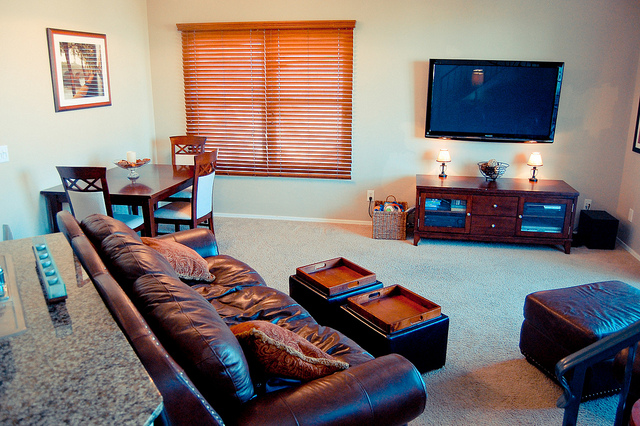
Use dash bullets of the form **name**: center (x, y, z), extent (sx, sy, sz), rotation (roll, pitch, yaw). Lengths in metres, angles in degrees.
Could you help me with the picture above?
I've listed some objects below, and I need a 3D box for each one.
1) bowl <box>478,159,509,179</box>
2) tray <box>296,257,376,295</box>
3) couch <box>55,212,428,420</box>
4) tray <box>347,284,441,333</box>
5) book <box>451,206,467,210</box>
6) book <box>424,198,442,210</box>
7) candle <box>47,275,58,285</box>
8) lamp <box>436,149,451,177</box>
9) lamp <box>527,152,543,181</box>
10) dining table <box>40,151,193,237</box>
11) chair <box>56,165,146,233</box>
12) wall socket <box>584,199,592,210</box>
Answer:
- **bowl**: center (2.107, -0.532, 5.428), extent (0.345, 0.237, 0.318), rotation (-1, 16, 0)
- **tray**: center (0.104, 0.483, 3.487), extent (0.344, 0.058, 0.355), rotation (-13, 24, -32)
- **couch**: center (-0.407, 0.578, 2.635), extent (0.634, 0.480, 1.275), rotation (-13, 24, -37)
- **tray**: center (0.512, 0.668, 3.142), extent (0.363, 0.071, 0.377), rotation (-12, 21, -37)
- **book**: center (1.615, -0.061, 5.169), extent (0.174, 0.038, 0.032), rotation (4, 17, 17)
- **book**: center (1.307, -0.107, 5.202), extent (0.211, 0.181, 0.107), rotation (6, 27, 7)
- **candle**: center (-1.135, 0.281, 1.895), extent (0.033, 0.022, 0.032), rotation (14, 27, 11)
- **lamp**: center (1.536, -0.612, 5.517), extent (0.158, 0.322, 0.254), rotation (3, 17, 14)
- **lamp**: center (2.587, -0.557, 5.370), extent (0.162, 0.332, 0.278), rotation (7, 18, 26)
- **dining table**: center (-2.022, -0.304, 4.625), extent (1.029, 0.711, 1.340), rotation (3, 17, 5)
- **chair**: center (-2.237, -0.121, 4.490), extent (0.580, 0.782, 0.599), rotation (-3, 21, -13)
- **wall socket**: center (3.263, -0.107, 5.424), extent (0.085, 0.115, 0.029), rotation (1, 17, 8)
